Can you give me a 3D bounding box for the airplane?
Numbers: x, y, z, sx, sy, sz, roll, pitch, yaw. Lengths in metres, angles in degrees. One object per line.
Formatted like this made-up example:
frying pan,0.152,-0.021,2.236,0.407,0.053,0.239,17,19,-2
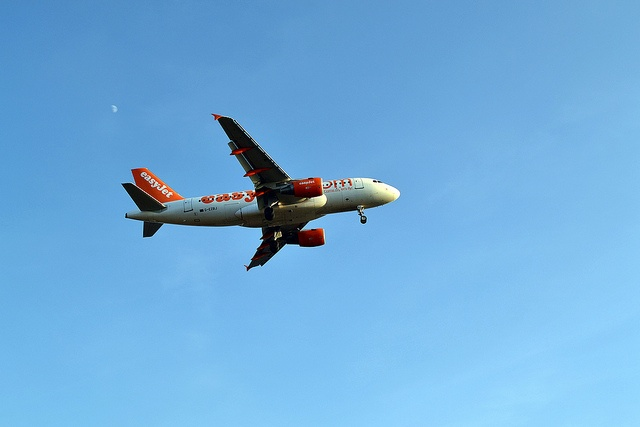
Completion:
airplane,-4.439,-1.172,59.320,20.103,6.610,16.837,-5,-39,-3
